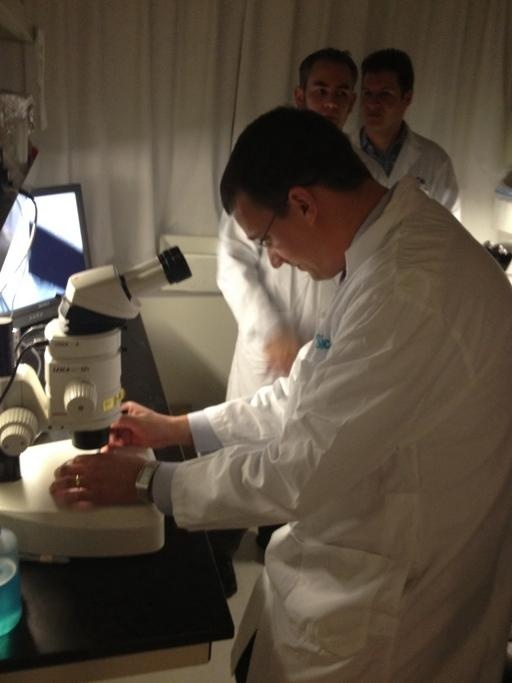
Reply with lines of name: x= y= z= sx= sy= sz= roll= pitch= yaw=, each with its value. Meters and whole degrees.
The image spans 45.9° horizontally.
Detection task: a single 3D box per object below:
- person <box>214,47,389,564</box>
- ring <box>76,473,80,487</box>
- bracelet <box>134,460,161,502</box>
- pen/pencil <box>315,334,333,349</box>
person: x=0.041 y=-0.263 z=2.166 sx=0.414 sy=1.492 sz=0.454 roll=13 pitch=14 yaw=-19
ring: x=-0.289 y=0.226 z=0.979 sx=0.008 sy=0.014 sz=0.003 roll=-5 pitch=-13 yaw=10
bracelet: x=-0.177 y=0.225 z=0.968 sx=0.029 sy=0.056 sz=0.060 roll=-7 pitch=47 yaw=7
pen/pencil: x=0.119 y=0.000 z=1.068 sx=0.019 sy=0.025 sz=0.022 roll=-3 pitch=4 yaw=-2
